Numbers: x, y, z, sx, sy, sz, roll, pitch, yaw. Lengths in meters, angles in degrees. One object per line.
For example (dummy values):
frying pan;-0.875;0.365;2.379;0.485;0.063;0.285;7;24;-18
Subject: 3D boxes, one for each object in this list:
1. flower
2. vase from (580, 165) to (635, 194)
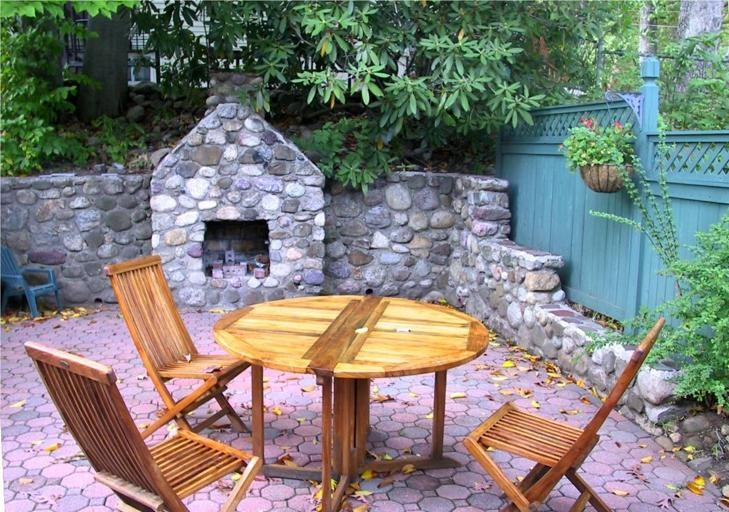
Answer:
flower;2.102;-0.984;4.738;0.589;0.416;0.480;4;14;21
vase;2.124;-0.690;4.690;0.293;0.153;0.295;1;3;14
